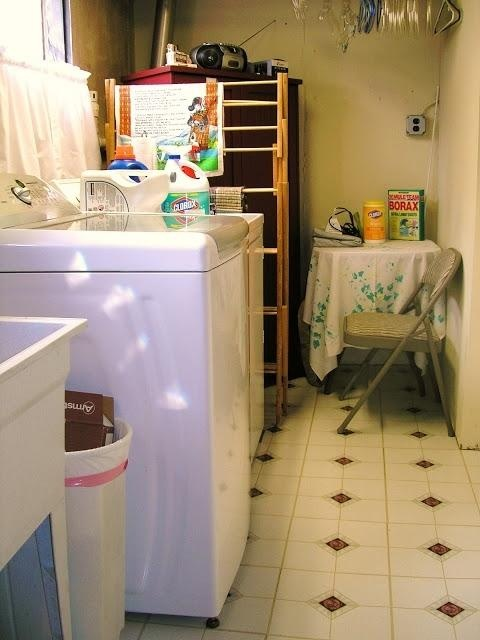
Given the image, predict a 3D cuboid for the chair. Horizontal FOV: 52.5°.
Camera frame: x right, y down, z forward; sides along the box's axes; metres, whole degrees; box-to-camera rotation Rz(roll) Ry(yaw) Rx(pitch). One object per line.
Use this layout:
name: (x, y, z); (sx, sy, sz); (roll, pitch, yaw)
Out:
chair: (0.909, 0.077, 2.882); (0.622, 0.983, 0.854); (1, 9, 15)

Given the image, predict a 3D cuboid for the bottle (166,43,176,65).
bottle: (-0.393, -1.521, 2.795); (0.046, 0.159, 0.145); (-3, 9, -9)

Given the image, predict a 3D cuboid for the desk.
desk: (0.782, -0.156, 3.126); (0.743, 0.969, 0.684); (0, 13, 1)

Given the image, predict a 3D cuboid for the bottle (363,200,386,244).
bottle: (0.915, -0.662, 3.324); (0.138, 0.304, 0.152); (2, 13, 22)
